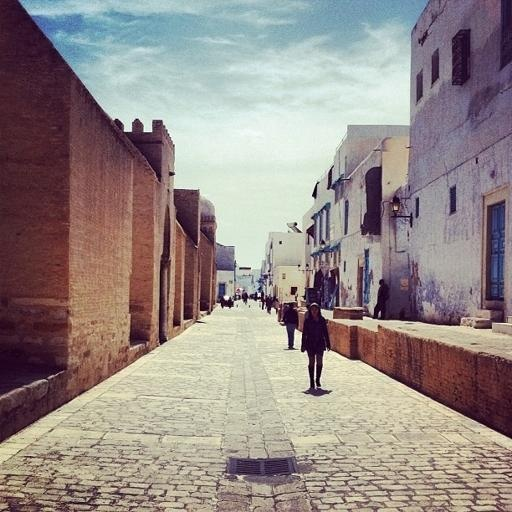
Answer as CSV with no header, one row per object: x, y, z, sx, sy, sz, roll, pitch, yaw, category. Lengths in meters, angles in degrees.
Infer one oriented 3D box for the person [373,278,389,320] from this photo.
4.051,1.379,19.872,0.457,1.303,1.187,0,-2,11,person

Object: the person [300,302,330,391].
0.974,1.451,10.173,0.430,1.536,0.331,0,22,7,person

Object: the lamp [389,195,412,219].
4.515,-1.459,19.014,0.608,0.735,2.137,0,-3,13,lamp

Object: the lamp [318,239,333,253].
3.876,-0.574,34.027,0.634,0.981,2.356,-2,-5,5,lamp
